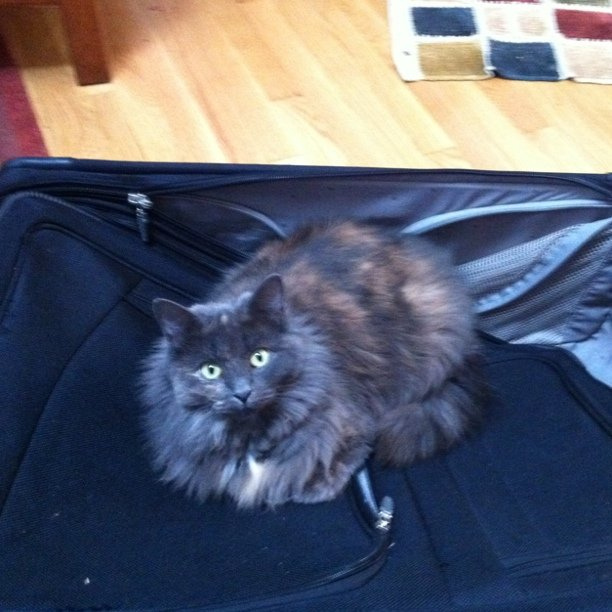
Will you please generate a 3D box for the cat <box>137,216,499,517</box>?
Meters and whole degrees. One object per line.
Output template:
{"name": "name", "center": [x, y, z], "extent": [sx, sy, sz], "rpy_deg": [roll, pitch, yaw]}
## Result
{"name": "cat", "center": [0.054, 0.104, 1.285], "extent": [0.572, 0.269, 0.633], "rpy_deg": [3, 29, 25]}
